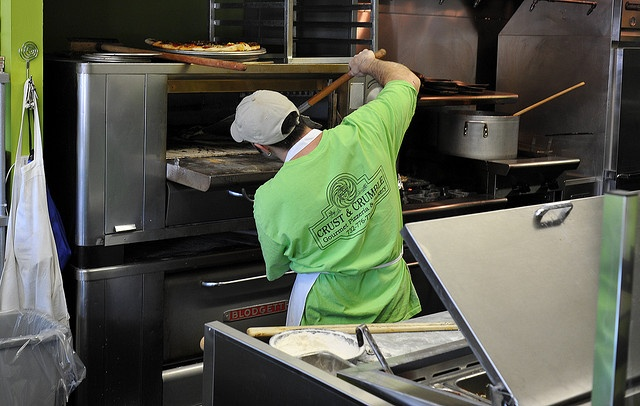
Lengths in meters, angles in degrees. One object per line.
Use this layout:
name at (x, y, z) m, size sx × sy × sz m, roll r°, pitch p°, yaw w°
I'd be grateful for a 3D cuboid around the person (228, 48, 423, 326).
person at (0.072, -0.032, 2.175) m, size 0.755 × 1.045 × 0.354 m, roll -5°, pitch 8°, yaw -25°

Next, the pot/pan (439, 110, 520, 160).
pot/pan at (0.948, -0.413, 3.294) m, size 0.329 × 0.183 × 0.370 m, roll 5°, pitch 13°, yaw 15°

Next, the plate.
plate at (-0.020, 0.436, 1.697) m, size 0.274 × 0.054 × 0.147 m, roll -3°, pitch 8°, yaw -9°

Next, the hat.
hat at (-0.230, -0.308, 2.113) m, size 0.178 × 0.139 × 0.242 m, roll -46°, pitch 45°, yaw -15°
